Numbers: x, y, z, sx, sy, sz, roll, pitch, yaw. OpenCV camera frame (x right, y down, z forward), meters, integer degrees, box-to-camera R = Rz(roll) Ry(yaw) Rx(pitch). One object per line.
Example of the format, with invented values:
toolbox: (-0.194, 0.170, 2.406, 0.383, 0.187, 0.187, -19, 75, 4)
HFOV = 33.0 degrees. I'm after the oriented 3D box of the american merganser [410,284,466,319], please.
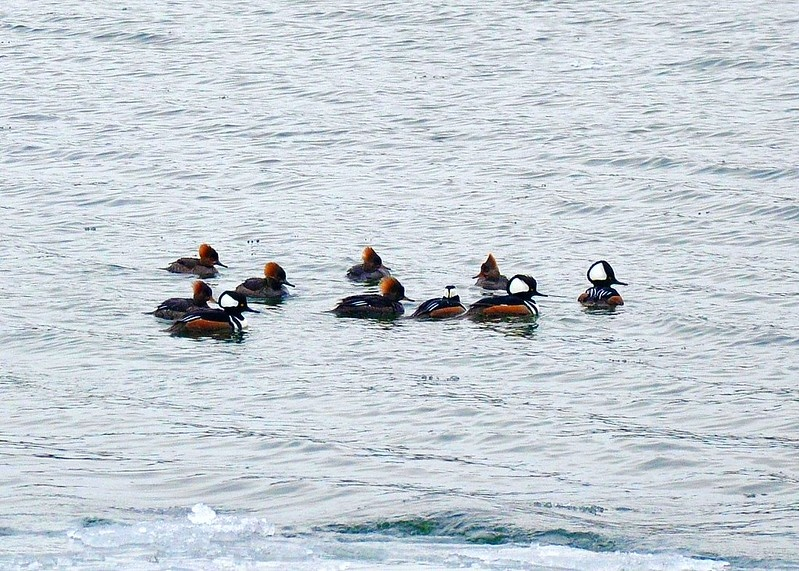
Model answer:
american merganser: (1.105, 0.386, 27.866, 1.659, 0.441, 0.482, -9, 15, -18)
